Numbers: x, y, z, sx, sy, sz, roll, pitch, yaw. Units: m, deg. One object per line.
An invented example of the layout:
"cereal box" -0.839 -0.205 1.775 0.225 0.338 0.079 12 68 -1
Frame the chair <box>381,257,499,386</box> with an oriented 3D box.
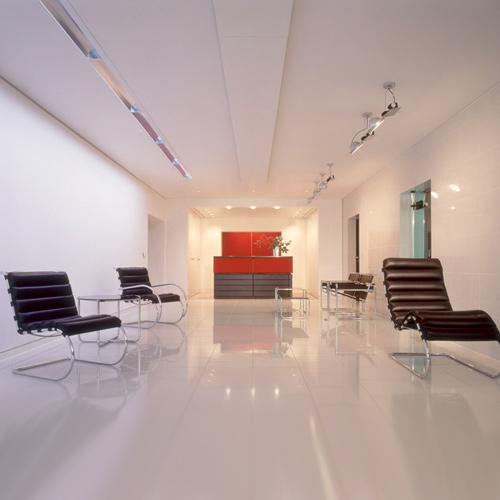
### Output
"chair" 2.261 0.518 4.268 0.862 1.114 1.402 0 -5 -5
